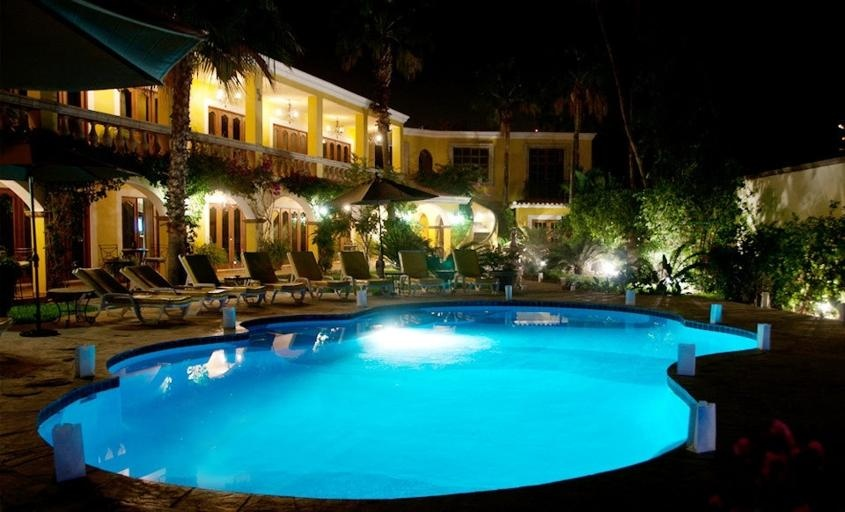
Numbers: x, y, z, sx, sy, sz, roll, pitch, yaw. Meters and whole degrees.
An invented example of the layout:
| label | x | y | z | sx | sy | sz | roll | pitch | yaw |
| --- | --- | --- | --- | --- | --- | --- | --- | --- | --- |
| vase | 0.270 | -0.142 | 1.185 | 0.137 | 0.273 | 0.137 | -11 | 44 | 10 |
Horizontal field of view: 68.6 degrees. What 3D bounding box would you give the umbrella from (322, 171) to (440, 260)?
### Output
| label | x | y | z | sx | sy | sz | roll | pitch | yaw |
| --- | --- | --- | --- | --- | --- | --- | --- | --- | --- |
| umbrella | -1.335 | -1.323 | 18.297 | 3.054 | 2.188 | 2.863 | 2 | -6 | -35 |
